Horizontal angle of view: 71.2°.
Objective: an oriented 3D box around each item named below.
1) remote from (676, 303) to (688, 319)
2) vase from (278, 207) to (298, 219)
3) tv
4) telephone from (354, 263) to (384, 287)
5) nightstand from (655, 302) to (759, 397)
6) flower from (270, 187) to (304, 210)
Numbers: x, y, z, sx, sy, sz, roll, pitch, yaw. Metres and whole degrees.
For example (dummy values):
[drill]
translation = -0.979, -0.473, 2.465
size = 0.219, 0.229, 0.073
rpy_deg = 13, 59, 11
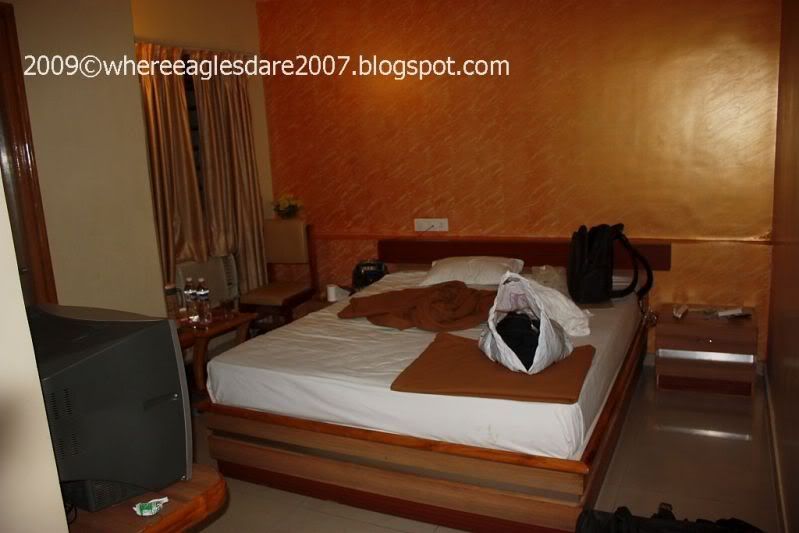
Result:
[remote]
translation = 2.209, 0.348, 4.379
size = 0.078, 0.034, 0.113
rpy_deg = 13, 37, 43
[vase]
translation = -1.111, -0.546, 5.627
size = 0.133, 0.067, 0.135
rpy_deg = -4, 3, 3
[tv]
translation = -0.929, 0.448, 1.837
size = 0.394, 0.603, 0.301
rpy_deg = -11, 15, -30
[telephone]
translation = -0.295, 0.070, 5.277
size = 0.307, 0.212, 0.222
rpy_deg = -1, 2, 3
[nightstand]
translation = 2.403, 0.570, 4.433
size = 0.691, 0.521, 0.688
rpy_deg = 1, 6, 19
[flower]
translation = -1.170, -0.707, 5.718
size = 0.274, 0.091, 0.273
rpy_deg = -1, 51, 6
